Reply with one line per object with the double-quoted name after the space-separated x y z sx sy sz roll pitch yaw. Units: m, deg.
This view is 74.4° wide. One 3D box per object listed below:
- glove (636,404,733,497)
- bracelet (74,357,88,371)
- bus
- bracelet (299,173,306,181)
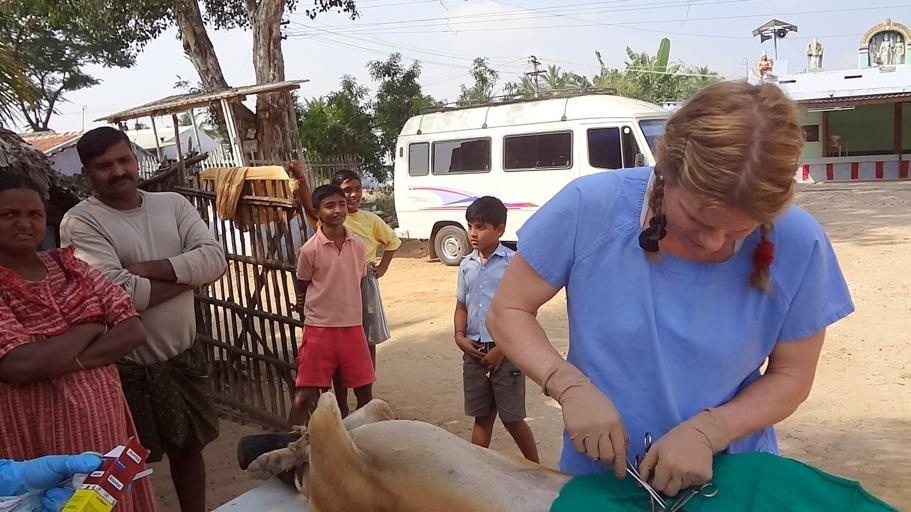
1.107 0.944 2.882 0.372 0.194 0.209 -30 58 -18 "glove"
-2.312 0.666 3.711 0.040 0.094 0.024 -13 16 -27 "bracelet"
1.468 -1.847 14.092 6.115 3.057 3.297 -1 7 23 "bus"
-1.531 -0.764 5.970 0.055 0.052 0.040 -14 5 28 "bracelet"
